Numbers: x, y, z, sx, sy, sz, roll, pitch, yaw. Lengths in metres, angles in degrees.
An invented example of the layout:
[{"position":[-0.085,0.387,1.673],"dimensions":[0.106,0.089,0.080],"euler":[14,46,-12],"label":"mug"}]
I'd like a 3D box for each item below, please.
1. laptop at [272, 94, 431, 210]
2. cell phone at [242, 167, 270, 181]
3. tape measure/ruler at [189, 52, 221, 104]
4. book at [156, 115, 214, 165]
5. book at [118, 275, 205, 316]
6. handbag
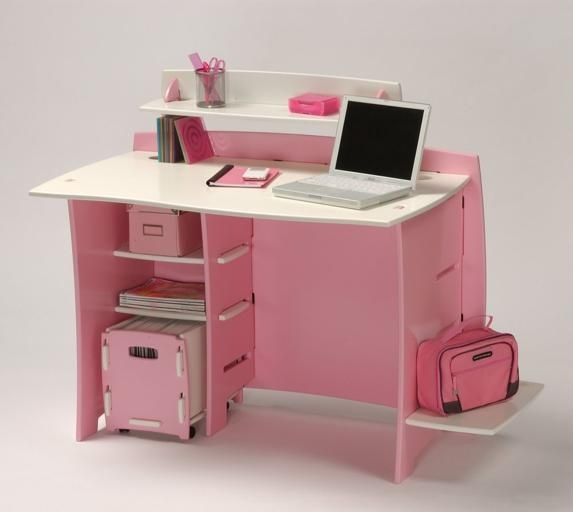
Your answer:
[{"position":[0.202,-0.352,2.118],"dimensions":[0.470,0.280,0.487],"euler":[19,45,42],"label":"laptop"},{"position":[-0.115,-0.313,2.297],"dimensions":[0.104,0.043,0.133],"euler":[-1,11,-1],"label":"cell phone"},{"position":[-0.322,-0.754,2.573],"dimensions":[0.159,0.235,0.082],"euler":[10,36,16],"label":"tape measure/ruler"},{"position":[-0.430,-0.511,2.629],"dimensions":[0.256,0.206,0.132],"euler":[-6,14,-21],"label":"book"},{"position":[-0.458,0.159,2.526],"dimensions":[0.407,0.073,0.303],"euler":[3,12,19],"label":"book"},{"position":[0.627,0.376,2.150],"dimensions":[0.416,0.279,0.203],"euler":[-5,10,-34],"label":"handbag"}]
